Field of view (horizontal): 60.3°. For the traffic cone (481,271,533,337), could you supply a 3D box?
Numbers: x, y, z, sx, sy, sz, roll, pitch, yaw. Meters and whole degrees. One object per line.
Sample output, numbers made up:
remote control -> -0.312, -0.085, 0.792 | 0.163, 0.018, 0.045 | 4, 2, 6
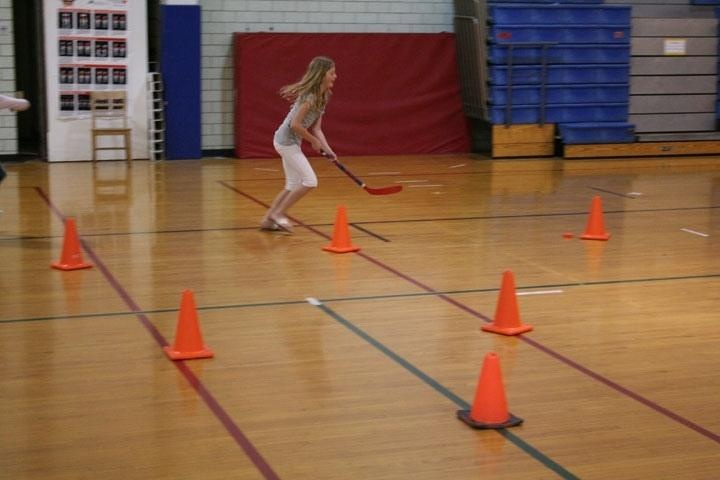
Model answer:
traffic cone -> 0.822, 0.338, 3.491 | 0.278, 0.349, 0.245 | -2, 12, 3

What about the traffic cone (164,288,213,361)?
traffic cone -> -0.933, 0.470, 3.358 | 0.391, 0.351, 0.310 | -2, 18, -18

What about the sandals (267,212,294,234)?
sandals -> -0.667, -0.171, 5.693 | 0.394, 0.199, 0.093 | 0, 47, 2

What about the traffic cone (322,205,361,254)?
traffic cone -> -0.167, -0.102, 5.126 | 0.296, 0.379, 0.315 | -3, 12, -1

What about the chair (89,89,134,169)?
chair -> -3.806, -1.740, 9.369 | 0.641, 1.096, 0.810 | -7, 13, -17

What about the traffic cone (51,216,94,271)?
traffic cone -> -2.179, 0.021, 4.616 | 0.265, 0.362, 0.374 | -8, 13, -22
